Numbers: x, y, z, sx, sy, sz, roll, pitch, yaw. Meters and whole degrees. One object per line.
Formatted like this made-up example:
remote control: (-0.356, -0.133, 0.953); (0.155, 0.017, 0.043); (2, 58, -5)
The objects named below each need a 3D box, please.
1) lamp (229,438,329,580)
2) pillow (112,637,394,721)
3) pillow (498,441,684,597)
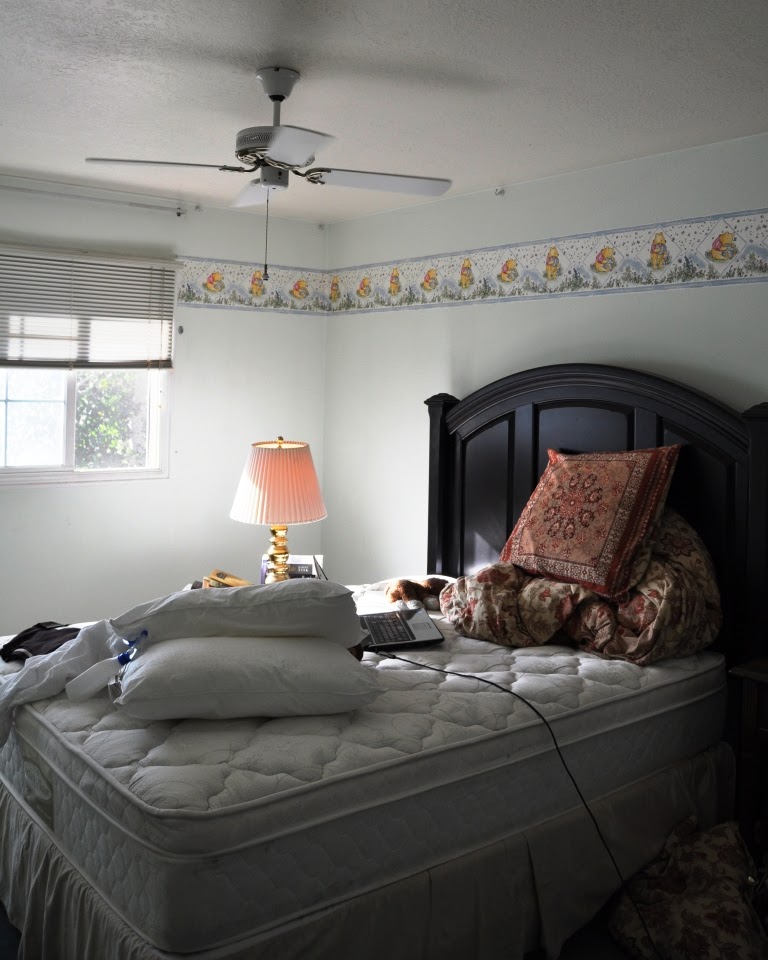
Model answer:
lamp: (-0.451, 0.143, 3.216); (0.395, 0.594, 0.382); (1, 9, -15)
pillow: (-0.290, 0.458, 1.680); (0.593, 0.139, 0.221); (3, 5, -14)
pillow: (0.694, 0.105, 2.584); (0.507, 0.491, 0.374); (9, 7, 40)
